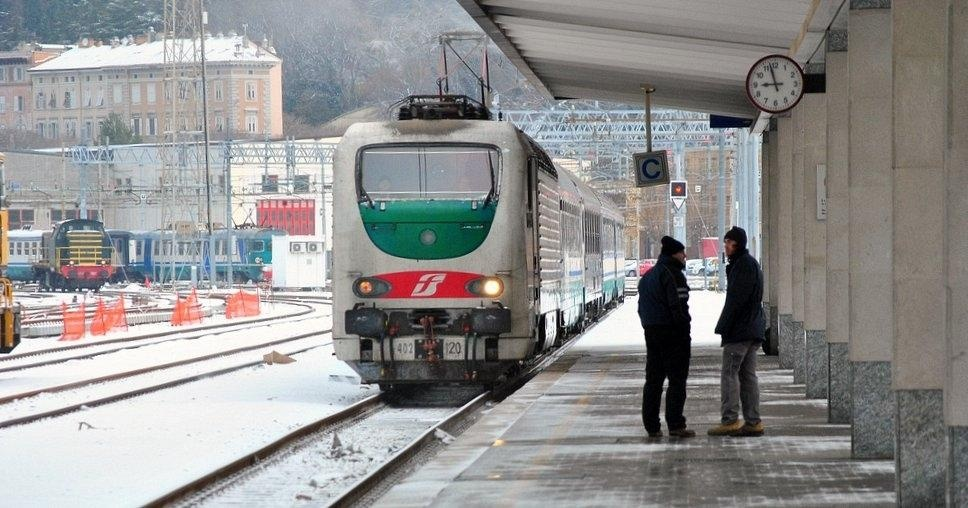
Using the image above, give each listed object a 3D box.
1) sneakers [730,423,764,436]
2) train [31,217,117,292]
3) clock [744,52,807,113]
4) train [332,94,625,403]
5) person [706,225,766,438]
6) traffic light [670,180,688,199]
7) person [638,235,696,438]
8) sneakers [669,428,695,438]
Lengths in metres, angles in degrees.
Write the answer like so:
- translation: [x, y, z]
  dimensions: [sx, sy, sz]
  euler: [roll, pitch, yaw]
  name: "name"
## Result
- translation: [4.050, 2.631, 15.870]
  dimensions: [0.544, 0.247, 0.198]
  euler: [0, -1, 19]
  name: "sneakers"
- translation: [-26.555, 0.178, 67.738]
  dimensions: [5.092, 5.914, 16.701]
  euler: [0, -2, -18]
  name: "train"
- translation: [4.900, -2.858, 17.446]
  dimensions: [0.903, 0.945, 0.335]
  euler: [0, 2, 15]
  name: "clock"
- translation: [0.101, -0.234, 23.094]
  dimensions: [3.444, 6.084, 7.989]
  euler: [0, 2, 18]
  name: "train"
- translation: [3.868, 1.165, 15.772]
  dimensions: [0.771, 3.122, 0.411]
  euler: [-1, 2, 7]
  name: "person"
- translation: [7.932, -2.623, 42.358]
  dimensions: [0.610, 0.666, 0.557]
  euler: [0, 2, 9]
  name: "traffic light"
- translation: [2.803, 1.238, 15.884]
  dimensions: [0.797, 3.038, 0.498]
  euler: [0, 2, 9]
  name: "person"
- translation: [3.036, 2.699, 15.909]
  dimensions: [0.408, 0.163, 0.143]
  euler: [-3, 0, -6]
  name: "sneakers"
